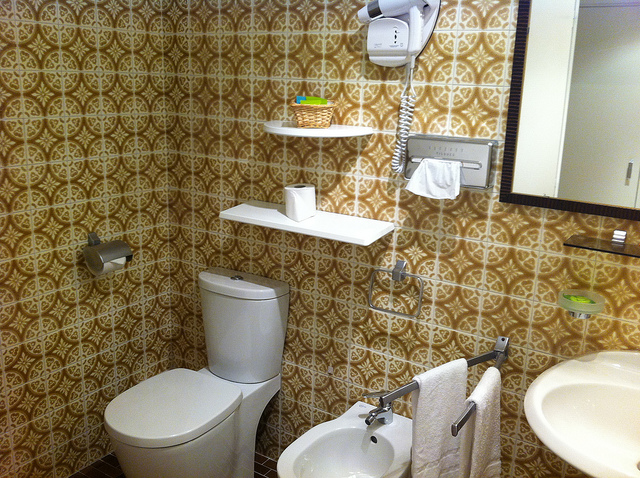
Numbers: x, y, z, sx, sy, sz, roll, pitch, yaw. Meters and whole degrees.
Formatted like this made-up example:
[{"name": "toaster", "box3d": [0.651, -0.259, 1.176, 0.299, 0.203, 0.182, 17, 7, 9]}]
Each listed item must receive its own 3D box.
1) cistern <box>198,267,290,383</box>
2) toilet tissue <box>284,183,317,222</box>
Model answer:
[{"name": "cistern", "box3d": [-0.334, 0.393, 2.484, 0.394, 0.458, 0.248, 7, 11, 28]}, {"name": "toilet tissue", "box3d": [-0.080, -0.146, 2.292, 0.127, 0.148, 0.135, -1, 16, 15]}]
